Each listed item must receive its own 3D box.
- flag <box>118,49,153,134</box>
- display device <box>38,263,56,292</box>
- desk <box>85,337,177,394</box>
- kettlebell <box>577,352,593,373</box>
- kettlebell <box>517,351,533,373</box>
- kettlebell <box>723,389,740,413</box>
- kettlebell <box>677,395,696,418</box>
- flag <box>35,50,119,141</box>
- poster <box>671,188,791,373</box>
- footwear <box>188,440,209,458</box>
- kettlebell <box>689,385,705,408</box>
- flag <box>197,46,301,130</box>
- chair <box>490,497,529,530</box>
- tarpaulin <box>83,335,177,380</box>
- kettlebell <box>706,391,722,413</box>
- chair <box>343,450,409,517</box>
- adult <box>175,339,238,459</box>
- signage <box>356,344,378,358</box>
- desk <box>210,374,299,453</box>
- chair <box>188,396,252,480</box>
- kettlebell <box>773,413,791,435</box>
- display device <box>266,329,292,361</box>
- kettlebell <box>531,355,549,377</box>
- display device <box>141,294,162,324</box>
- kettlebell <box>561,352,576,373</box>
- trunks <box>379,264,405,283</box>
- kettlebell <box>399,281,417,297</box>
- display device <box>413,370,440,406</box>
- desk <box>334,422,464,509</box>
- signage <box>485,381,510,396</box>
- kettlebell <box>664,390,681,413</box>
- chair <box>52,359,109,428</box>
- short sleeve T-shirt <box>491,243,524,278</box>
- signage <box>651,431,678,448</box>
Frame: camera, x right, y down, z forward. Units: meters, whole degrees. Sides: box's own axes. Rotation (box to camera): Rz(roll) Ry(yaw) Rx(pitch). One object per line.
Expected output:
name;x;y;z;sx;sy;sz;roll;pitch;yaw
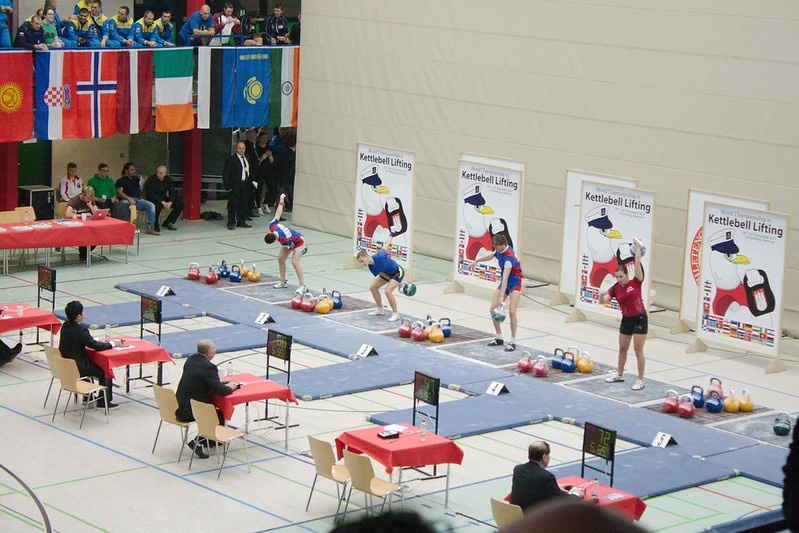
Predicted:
flag;-7.197;-4.785;30.170;1.141;2.233;0.295;-2;6;-42
display device;-7.472;0.246;23.461;0.077;0.426;0.603;-9;9;-33
desk;-5.046;1.648;20.554;0.973;0.591;1.128;-7;14;-37
kettlebell;3.817;1.986;22.924;0.210;0.353;0.361;-8;13;-37
kettlebell;2.560;1.968;22.935;0.331;0.485;0.354;1;7;-6
kettlebell;6.412;2.592;21.452;0.323;0.444;0.288;3;4;3
kettlebell;5.472;2.678;21.145;0.329;0.454;0.306;9;15;43
flag;-8.494;-4.576;28.986;2.112;2.060;0.183;-16;29;-37
poster;7.186;0.363;23.360;1.818;3.644;0.717;5;5;28
footwear;-3.468;3.147;19.145;0.134;0.301;0.102;-37;19;12
kettlebell;5.759;2.533;21.492;0.323;0.458;0.239;10;21;37
flag;-4.487;-5.308;32.317;2.419;1.577;0.289;-9;17;-37
chair;1.569;3.692;16.422;0.445;0.503;0.755;1;5;-12
tarpaulin;-4.985;1.616;20.441;0.900;0.253;1.057;-10;18;-32
kettlebell;6.067;2.609;21.370;0.332;0.468;0.256;8;16;37
chair;-0.457;3.403;17.536;0.845;1.117;1.165;2;5;0
adult;-3.318;2.276;19.181;1.105;2.045;0.932;-6;14;-45
signage;-0.704;1.769;23.191;0.256;0.200;0.339;-13;18;-38
desk;-2.640;2.672;19.385;1.269;0.986;1.260;-3;8;-39
chair;-3.103;2.960;18.953;0.893;1.587;0.991;15;21;43
kettlebell;7.065;2.902;20.485;0.298;0.428;0.398;4;5;18
display device;-2.206;1.443;20.232;0.104;0.572;0.766;4;5;-39
kettlebell;2.887;2.049;22.763;0.246;0.417;0.289;-11;17;-37
display device;-4.754;0.831;21.317;0.216;0.461;0.680;-1;6;-41
kettlebell;3.478;1.985;22.879;0.336;0.473;0.280;8;16;35
trunks;-0.181;0.159;25.181;0.468;0.426;0.344;-7;-2;9
kettlebell;0.222;0.521;25.683;0.295;0.371;0.543;3;1;-7
display device;0.450;2.079;18.806;0.103;0.685;0.788;-14;20;-38
desk;0.019;2.906;17.915;1.406;1.105;1.710;-2;6;-33
signage;1.888;2.377;21.662;0.256;0.195;0.327;-12;14;-40
kettlebell;5.229;2.596;21.273;0.258;0.390;0.270;-19;28;-42
chair;-5.795;2.304;20.270;0.812;1.445;0.906;14;21;37
short sleeve T-shirt;2.378;-0.148;24.682;0.324;0.560;0.561;-30;29;-7
signage;4.744;3.075;19.937;0.304;0.130;0.291;-4;3;-37
